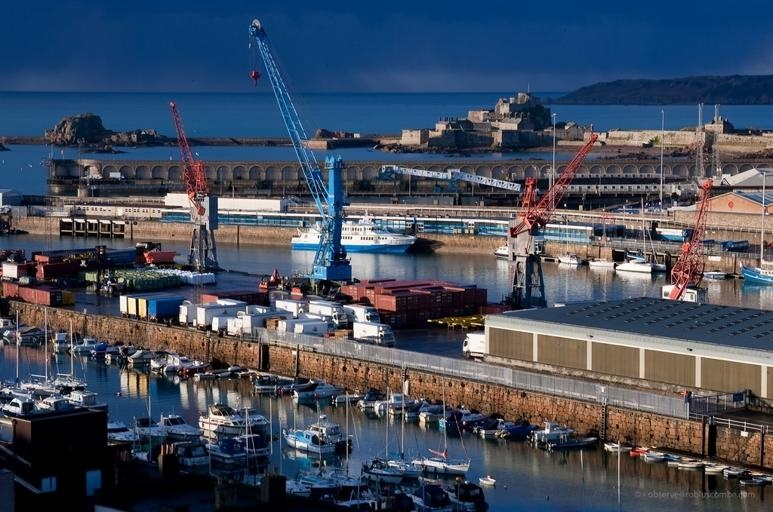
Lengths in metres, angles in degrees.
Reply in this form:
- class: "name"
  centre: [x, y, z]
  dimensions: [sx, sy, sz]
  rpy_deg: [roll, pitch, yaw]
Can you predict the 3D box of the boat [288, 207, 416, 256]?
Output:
- class: "boat"
  centre: [-1.828, -1.149, 85.014]
  dimensions: [8.553, 2.575, 1.953]
  rpy_deg: [1, 6, 23]
